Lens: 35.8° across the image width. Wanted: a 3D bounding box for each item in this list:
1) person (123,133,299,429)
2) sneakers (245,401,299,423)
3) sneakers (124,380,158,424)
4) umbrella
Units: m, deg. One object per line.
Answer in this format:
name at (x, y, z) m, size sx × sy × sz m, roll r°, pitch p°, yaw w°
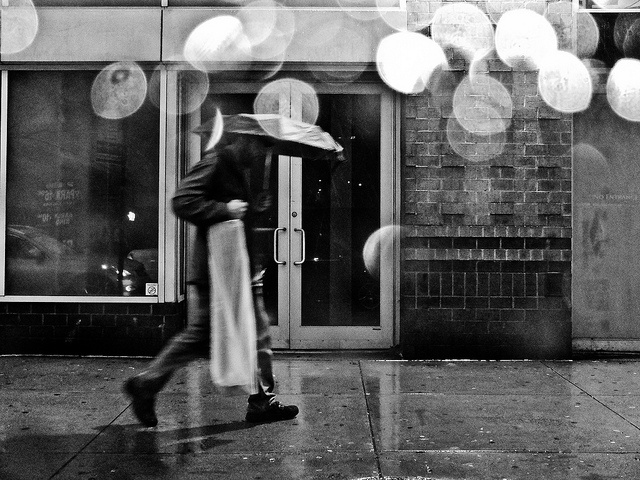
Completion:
person at (-0.981, 0.382, 9.268) m, size 1.478 × 2.633 × 0.671 m, roll -2°, pitch 12°, yaw -8°
sneakers at (-0.466, 1.637, 9.442) m, size 0.554 × 0.225 × 0.189 m, roll -3°, pitch 7°, yaw -21°
sneakers at (-1.667, 1.492, 9.172) m, size 0.281 × 0.515 × 0.241 m, roll 0°, pitch 12°, yaw 1°
umbrella at (-0.612, -0.817, 9.865) m, size 1.374 × 0.866 × 1.318 m, roll 13°, pitch 30°, yaw 17°
